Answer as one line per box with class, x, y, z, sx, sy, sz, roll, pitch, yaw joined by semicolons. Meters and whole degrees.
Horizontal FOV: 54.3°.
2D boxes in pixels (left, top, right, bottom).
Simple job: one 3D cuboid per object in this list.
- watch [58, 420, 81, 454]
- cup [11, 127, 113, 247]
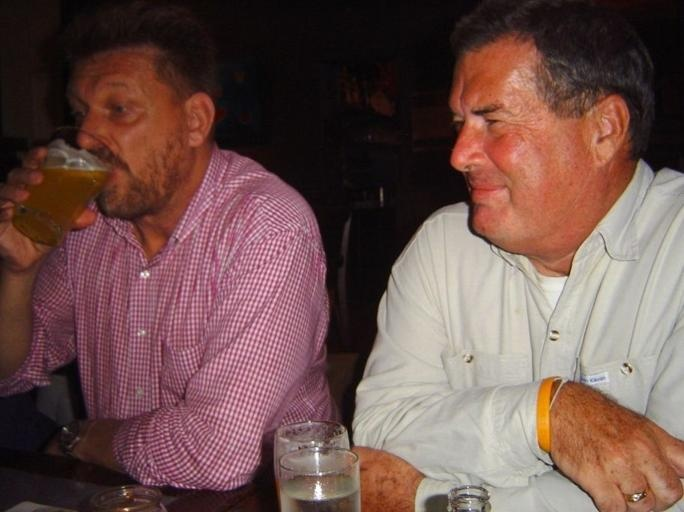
watch;-0.905;0.603;2.226;0.059;0.026;0.105;-14;45;13
cup;-0.939;-0.223;2.213;0.319;0.382;0.149;-9;16;-20
